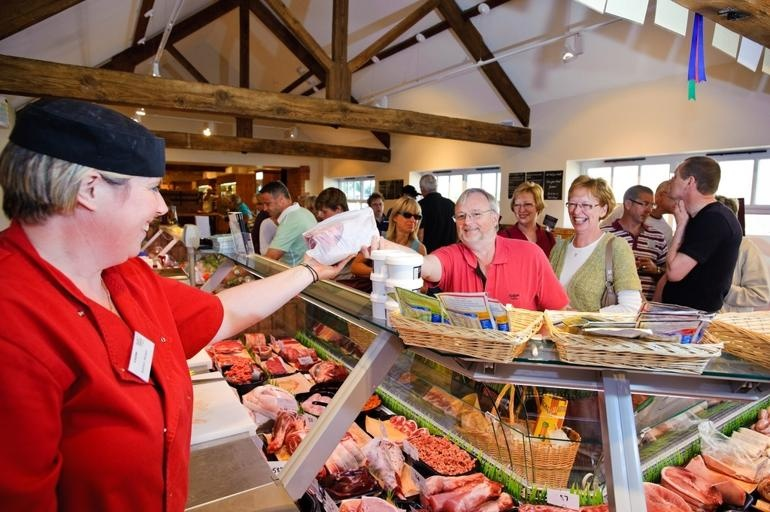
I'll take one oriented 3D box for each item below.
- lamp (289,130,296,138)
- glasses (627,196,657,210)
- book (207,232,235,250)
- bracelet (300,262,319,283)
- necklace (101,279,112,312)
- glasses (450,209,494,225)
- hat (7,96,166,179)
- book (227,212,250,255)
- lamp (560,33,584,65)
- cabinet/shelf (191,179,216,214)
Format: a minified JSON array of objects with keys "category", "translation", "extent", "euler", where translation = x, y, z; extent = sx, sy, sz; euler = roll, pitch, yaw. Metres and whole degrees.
[{"category":"lamp","translation":[-1.941,-2.595,10.574],"extent":[0.092,0.164,0.157],"euler":[-2,-23,-30]},{"category":"glasses","translation":[1.893,-0.381,3.653],"extent":[0.168,0.051,0.170],"euler":[6,-4,-33]},{"category":"book","translation":[-1.078,-0.077,3.303],"extent":[0.161,0.061,0.154],"euler":[1,0,-1]},{"category":"bracelet","translation":[-0.254,0.058,1.705],"extent":[0.018,0.058,0.051],"euler":[-31,30,-22]},{"category":"necklace","translation":[-0.713,0.104,1.294],"extent":[0.017,0.069,0.061],"euler":[-16,8,-13]},{"category":"glasses","translation":[0.409,-0.180,2.284],"extent":[0.171,0.067,0.071],"euler":[3,8,9]},{"category":"hat","translation":[-0.712,-0.303,1.250],"extent":[0.359,0.117,0.251],"euler":[12,15,-14]},{"category":"book","translation":[-0.916,-0.160,3.234],"extent":[0.071,0.277,0.207],"euler":[-14,-5,-19]},{"category":"lamp","translation":[2.187,-2.444,5.809],"extent":[0.172,0.370,0.577],"euler":[4,9,16]},{"category":"cabinet/shelf","translation":[-5.102,-1.747,14.156],"extent":[0.639,1.001,0.615],"euler":[-13,44,-35]}]
